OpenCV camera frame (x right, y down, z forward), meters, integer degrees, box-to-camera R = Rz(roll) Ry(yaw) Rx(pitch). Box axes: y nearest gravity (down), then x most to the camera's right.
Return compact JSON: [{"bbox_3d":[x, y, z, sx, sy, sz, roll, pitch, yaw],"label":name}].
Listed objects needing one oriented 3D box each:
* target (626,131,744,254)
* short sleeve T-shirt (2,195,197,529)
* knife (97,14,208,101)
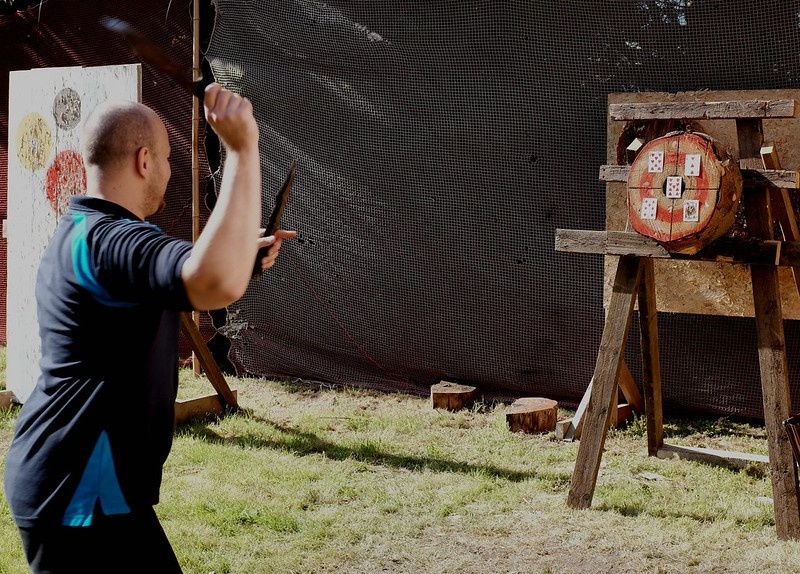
[{"bbox_3d":[1.699,-0.534,5.239,0.657,0.735,0.341,-17,-9,34],"label":"target"},{"bbox_3d":[-1.336,0.342,3.794,0.736,1.376,1.890,-4,1,-27],"label":"short sleeve T-shirt"},{"bbox_3d":[-0.807,-0.768,2.934,0.313,0.256,0.360,-2,13,-7],"label":"knife"}]
